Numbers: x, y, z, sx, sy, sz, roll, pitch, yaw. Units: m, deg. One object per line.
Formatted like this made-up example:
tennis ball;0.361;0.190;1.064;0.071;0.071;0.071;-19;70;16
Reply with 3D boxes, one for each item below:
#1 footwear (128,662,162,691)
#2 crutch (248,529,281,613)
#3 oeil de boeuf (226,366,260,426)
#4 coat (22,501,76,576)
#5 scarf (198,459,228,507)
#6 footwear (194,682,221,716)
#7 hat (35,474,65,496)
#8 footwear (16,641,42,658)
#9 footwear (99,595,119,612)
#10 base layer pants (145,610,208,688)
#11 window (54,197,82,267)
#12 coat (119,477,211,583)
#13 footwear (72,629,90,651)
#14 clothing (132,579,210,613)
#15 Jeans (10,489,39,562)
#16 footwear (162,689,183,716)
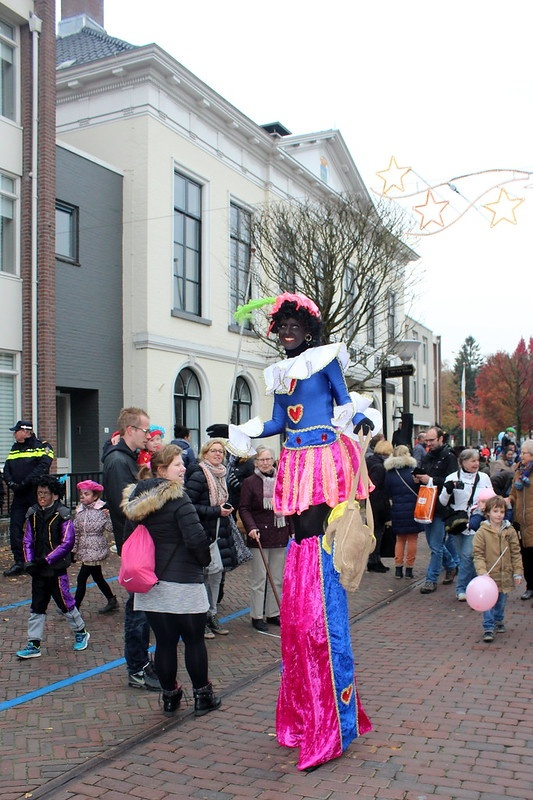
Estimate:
footwear;-0.825;1.804;5.124;0.304;0.125;0.101;-3;-4;33
crutch;0.016;1.499;6.730;0.150;0.140;0.992;-32;37;6
oeil de boeuf;-0.582;-0.128;17.853;0.195;1.639;1.518;-1;-2;27
coat;-1.645;1.015;5.891;0.412;0.534;0.347;-2;2;23
scarf;-0.405;0.675;6.339;0.137;0.300;0.313;-7;-7;40
footwear;-0.352;1.746;4.600;0.099;0.161;0.215;2;4;28
hat;-1.639;0.644;6.000;0.157;0.091;0.174;-1;-9;0
footwear;-1.720;1.835;5.776;0.091;0.108;0.202;-8;-11;35
footwear;-1.472;1.935;7.383;0.226;0.158;0.084;2;-10;-21
base layer pants;-0.509;1.437;4.496;0.351;0.482;0.287;0;-4;-4
window;-3.672;-3.080;14.482;0.184;1.057;0.548;-1;-4;21
coat;-0.577;0.745;4.463;0.504;0.596;0.259;0;-4;-3
footwear;-1.439;1.843;6.069;0.077;0.081;0.201;-5;6;2
clothing;-0.521;1.114;4.385;0.378;0.219;0.204;-1;-18;1
Jeans;-2.835;1.494;9.192;0.315;1.038;0.275;-5;14;-30
footwear;-0.546;1.732;4.524;0.066;0.124;0.185;-1;5;7
